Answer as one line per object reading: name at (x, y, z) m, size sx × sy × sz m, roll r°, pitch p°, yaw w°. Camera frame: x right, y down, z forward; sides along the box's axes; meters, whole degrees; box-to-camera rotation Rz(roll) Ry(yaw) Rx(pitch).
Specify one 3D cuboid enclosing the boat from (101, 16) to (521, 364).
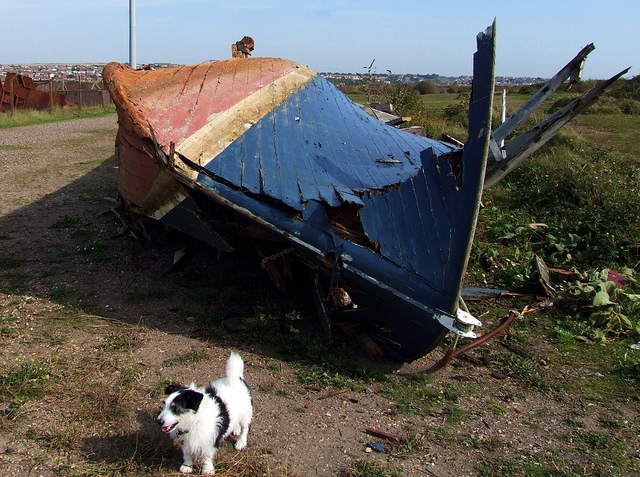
boat at (-0.369, -1.062, 8.365) m, size 5.608 × 3.431 × 7.206 m, roll 0°, pitch 28°, yaw -47°
